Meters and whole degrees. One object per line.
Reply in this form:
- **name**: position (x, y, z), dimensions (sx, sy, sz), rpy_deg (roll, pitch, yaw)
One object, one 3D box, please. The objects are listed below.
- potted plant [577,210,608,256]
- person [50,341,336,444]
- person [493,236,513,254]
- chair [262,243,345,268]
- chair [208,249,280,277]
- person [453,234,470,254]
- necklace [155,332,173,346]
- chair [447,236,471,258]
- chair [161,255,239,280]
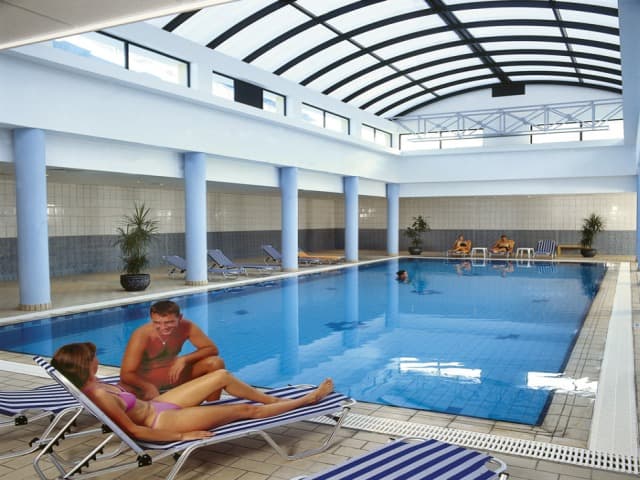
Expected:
- **potted plant**: position (14.337, -0.297, 23.367), dimensions (1.149, 2.361, 2.489), rpy_deg (0, 0, 29)
- **person**: position (-0.843, 1.132, 3.391), dimensions (2.106, 0.490, 0.933), rpy_deg (5, 6, -24)
- **person**: position (10.053, 0.259, 24.340), dimensions (1.088, 0.937, 0.875), rpy_deg (-6, -24, 30)
- **chair**: position (-0.832, 0.720, 20.503), dimensions (2.955, 0.632, 1.420), rpy_deg (0, 1, 24)
- **chair**: position (-3.113, 0.832, 16.439), dimensions (2.335, 0.614, 1.109), rpy_deg (1, 3, 5)
- **person**: position (7.946, 0.272, 24.917), dimensions (0.748, 1.023, 2.437), rpy_deg (0, 0, 21)
- **necklace**: position (-1.240, 0.781, 3.532), dimensions (0.103, 0.097, 0.045), rpy_deg (1, 6, 0)
- **chair**: position (7.732, 0.409, 24.594), dimensions (1.347, 0.880, 1.665), rpy_deg (0, 2, 42)
- **chair**: position (-4.460, 1.014, 16.187), dimensions (2.576, 0.467, 1.236), rpy_deg (0, 1, 18)
